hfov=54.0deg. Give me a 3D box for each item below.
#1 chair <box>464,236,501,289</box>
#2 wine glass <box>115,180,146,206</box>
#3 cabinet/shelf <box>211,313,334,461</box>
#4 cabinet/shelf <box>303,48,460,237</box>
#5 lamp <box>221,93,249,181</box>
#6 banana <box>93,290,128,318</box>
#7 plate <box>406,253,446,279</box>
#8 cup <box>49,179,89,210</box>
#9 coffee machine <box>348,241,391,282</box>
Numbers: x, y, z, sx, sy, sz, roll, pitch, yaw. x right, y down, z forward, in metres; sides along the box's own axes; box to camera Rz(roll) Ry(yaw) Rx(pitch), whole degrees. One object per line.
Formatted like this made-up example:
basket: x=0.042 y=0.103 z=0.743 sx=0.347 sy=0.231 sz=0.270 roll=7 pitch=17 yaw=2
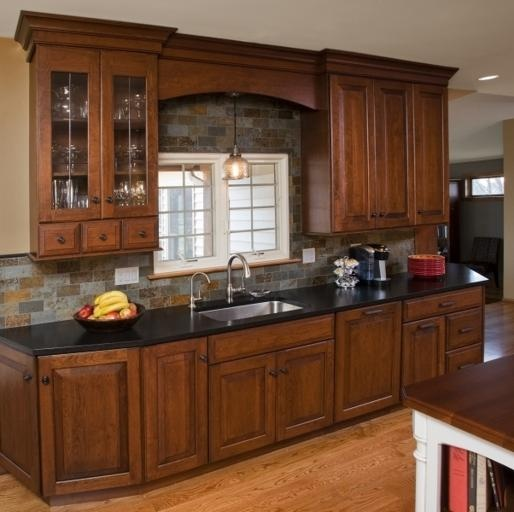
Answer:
chair: x=4.069 y=0.137 z=9.289 sx=0.900 sy=0.823 sz=0.807 roll=-5 pitch=13 yaw=-1
wine glass: x=-0.706 y=-0.350 z=2.774 sx=0.176 sy=0.143 sz=0.055 roll=-2 pitch=3 yaw=-36
cabinet/shelf: x=-0.065 y=0.772 z=3.150 sx=1.044 sy=0.745 sz=0.554 roll=-1 pitch=1 yaw=-40
cabinet/shelf: x=0.938 y=-0.812 z=3.867 sx=1.460 sy=1.194 sz=0.404 roll=-8 pitch=10 yaw=-36
lamp: x=-0.143 y=-0.773 z=3.318 sx=0.156 sy=0.573 sz=0.354 roll=0 pitch=11 yaw=-4
banana: x=-0.772 y=0.248 z=2.685 sx=0.168 sy=0.044 sz=0.124 roll=-28 pitch=46 yaw=-35
plate: x=1.387 y=0.081 z=4.096 sx=0.256 sy=0.125 sz=0.214 roll=-1 pitch=4 yaw=8
cup: x=-0.983 y=-0.321 z=2.628 sx=0.169 sy=0.147 sz=0.160 roll=-2 pitch=-5 yaw=0
coffee machine: x=0.885 y=0.061 z=3.869 sx=0.213 sy=0.272 sz=0.335 roll=-2 pitch=3 yaw=-22
